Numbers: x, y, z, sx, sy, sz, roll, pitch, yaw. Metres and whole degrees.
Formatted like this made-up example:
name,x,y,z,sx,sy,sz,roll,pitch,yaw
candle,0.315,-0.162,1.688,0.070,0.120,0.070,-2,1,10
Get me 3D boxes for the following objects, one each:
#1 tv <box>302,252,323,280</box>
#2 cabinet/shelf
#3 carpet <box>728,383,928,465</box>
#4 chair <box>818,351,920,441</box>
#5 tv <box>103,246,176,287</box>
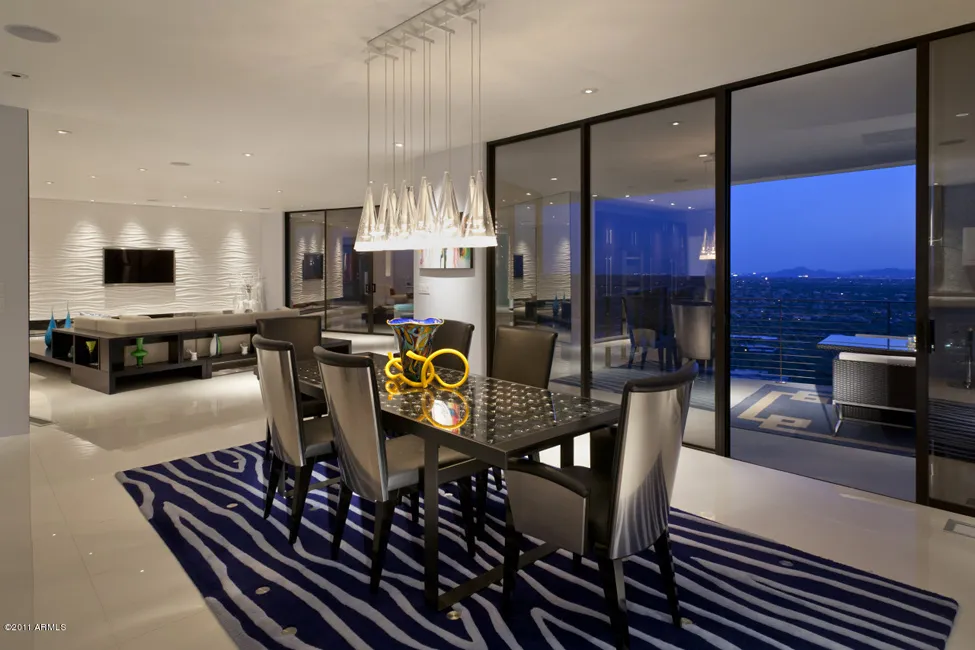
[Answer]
name,x,y,z,sx,sy,sz,roll,pitch,yaw
tv,-3.697,-1.265,13.169,0.578,0.567,0.099,1,6,31
cabinet/shelf,-4.246,0.317,8.189,2.036,0.864,0.898,-5,6,-30
carpet,2.882,0.813,5.168,1.589,0.701,0.008,11,3,33
chair,2.983,0.516,4.785,0.718,0.511,0.325,6,9,25
tv,-6.803,-1.158,12.200,0.264,0.700,1.250,2,7,38
